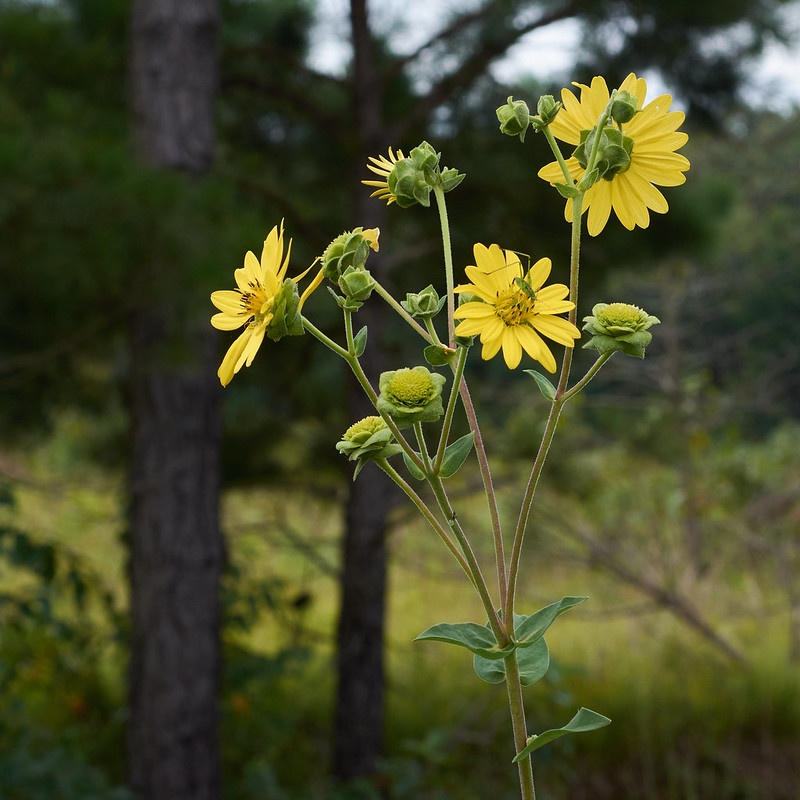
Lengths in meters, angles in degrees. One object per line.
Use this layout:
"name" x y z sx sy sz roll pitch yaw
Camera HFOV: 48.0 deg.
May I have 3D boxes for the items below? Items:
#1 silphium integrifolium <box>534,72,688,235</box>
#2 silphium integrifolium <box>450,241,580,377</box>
"silphium integrifolium" 0.287 -0.325 1.212 0.192 0.195 0.197 2 -32 -1
"silphium integrifolium" 0.152 -0.120 1.177 0.165 0.062 0.196 -10 -54 42
